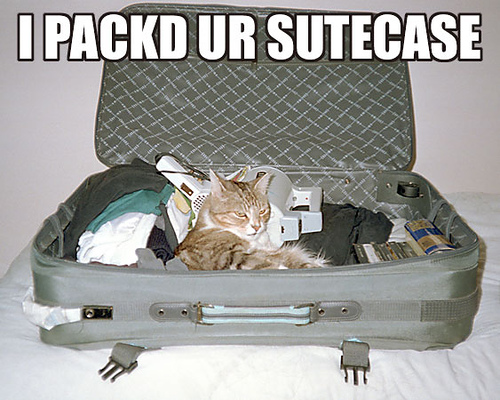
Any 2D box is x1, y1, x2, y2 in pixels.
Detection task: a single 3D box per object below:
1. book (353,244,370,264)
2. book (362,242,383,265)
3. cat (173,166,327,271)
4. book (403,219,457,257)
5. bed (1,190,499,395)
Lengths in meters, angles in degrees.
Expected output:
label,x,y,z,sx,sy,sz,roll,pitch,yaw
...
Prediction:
label,x,y,z,sx,sy,sz,roll,pitch,yaw
book,0.292,0.144,1.323,0.026,0.003,0.079,-13,33,7
book,0.331,0.153,1.329,0.028,0.004,0.088,-8,33,0
cat,-0.037,0.069,1.356,0.490,0.288,0.194,1,-3,29
book,0.466,0.088,1.311,0.058,0.032,0.114,-7,24,-4
bed,0.042,0.173,1.217,0.950,0.241,0.591,-1,7,2
